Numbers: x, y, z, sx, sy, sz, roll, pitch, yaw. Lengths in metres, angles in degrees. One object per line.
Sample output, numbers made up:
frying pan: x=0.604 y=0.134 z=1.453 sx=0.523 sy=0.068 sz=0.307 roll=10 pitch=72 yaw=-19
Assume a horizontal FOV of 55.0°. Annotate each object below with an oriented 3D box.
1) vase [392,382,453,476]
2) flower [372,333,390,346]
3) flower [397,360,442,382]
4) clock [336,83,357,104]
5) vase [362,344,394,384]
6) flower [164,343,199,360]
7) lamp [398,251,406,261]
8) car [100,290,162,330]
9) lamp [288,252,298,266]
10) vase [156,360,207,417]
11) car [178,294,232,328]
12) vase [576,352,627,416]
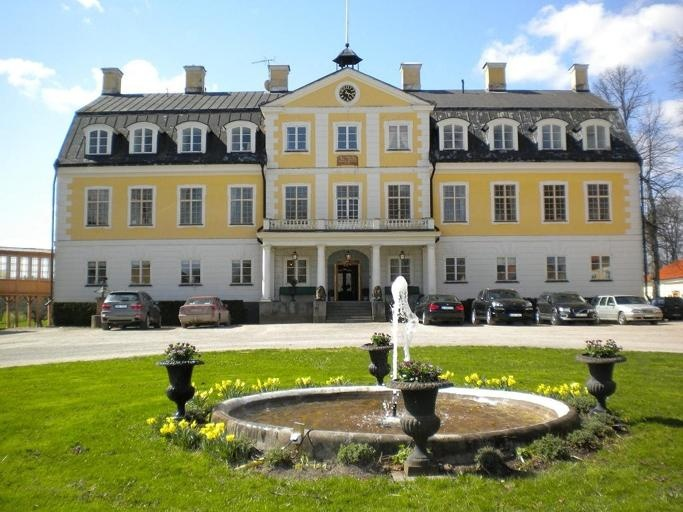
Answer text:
vase: x=1.203 y=2.567 z=9.770 sx=0.735 sy=1.337 sz=0.425 roll=-2 pitch=-6 yaw=5
flower: x=0.845 y=1.822 z=14.113 sx=0.272 sy=0.199 sz=0.280 roll=1 pitch=-1 yaw=-2
flower: x=1.182 y=1.781 z=10.089 sx=0.392 sy=0.246 sz=0.408 roll=1 pitch=-5 yaw=-4
clock: x=0.386 y=-10.132 z=41.136 sx=1.237 sy=1.296 sz=0.135 roll=3 pitch=14 yaw=5
vase: x=0.856 y=2.430 z=14.157 sx=0.769 sy=0.901 sz=0.737 roll=-5 pitch=-7 yaw=14
flower: x=-3.026 y=1.837 z=12.406 sx=0.528 sy=0.337 sz=0.583 roll=0 pitch=-6 yaw=-9
lamp: x=3.766 y=0.026 z=40.271 sx=0.454 sy=0.530 sz=0.426 roll=0 pitch=-9 yaw=-3
car: x=-10.428 y=2.753 z=33.151 sx=1.512 sy=1.252 sz=3.345 roll=-1 pitch=-2 yaw=-6
lamp: x=-2.896 y=0.207 z=40.425 sx=0.730 sy=1.031 sz=0.729 roll=1 pitch=-8 yaw=1
vase: x=-3.035 y=2.545 z=12.442 sx=0.896 sy=1.043 sz=0.935 roll=0 pitch=-4 yaw=-23
car: x=-7.112 y=2.931 z=34.249 sx=1.589 sy=1.685 sz=2.859 roll=-2 pitch=-6 yaw=10
vase: x=4.760 y=2.392 z=12.073 sx=0.907 sy=1.016 sz=0.875 roll=0 pitch=-6 yaw=0
